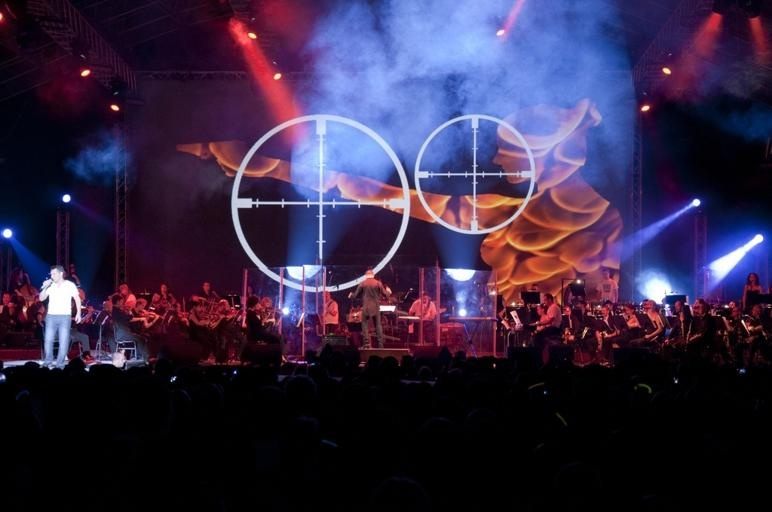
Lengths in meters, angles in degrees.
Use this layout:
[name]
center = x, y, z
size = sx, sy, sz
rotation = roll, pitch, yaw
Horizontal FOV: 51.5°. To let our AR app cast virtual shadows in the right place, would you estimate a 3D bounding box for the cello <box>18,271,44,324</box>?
[cello]
center = -9.352, 1.114, 21.046
size = 0.462, 1.339, 0.389
rotation = -10, -60, -20
